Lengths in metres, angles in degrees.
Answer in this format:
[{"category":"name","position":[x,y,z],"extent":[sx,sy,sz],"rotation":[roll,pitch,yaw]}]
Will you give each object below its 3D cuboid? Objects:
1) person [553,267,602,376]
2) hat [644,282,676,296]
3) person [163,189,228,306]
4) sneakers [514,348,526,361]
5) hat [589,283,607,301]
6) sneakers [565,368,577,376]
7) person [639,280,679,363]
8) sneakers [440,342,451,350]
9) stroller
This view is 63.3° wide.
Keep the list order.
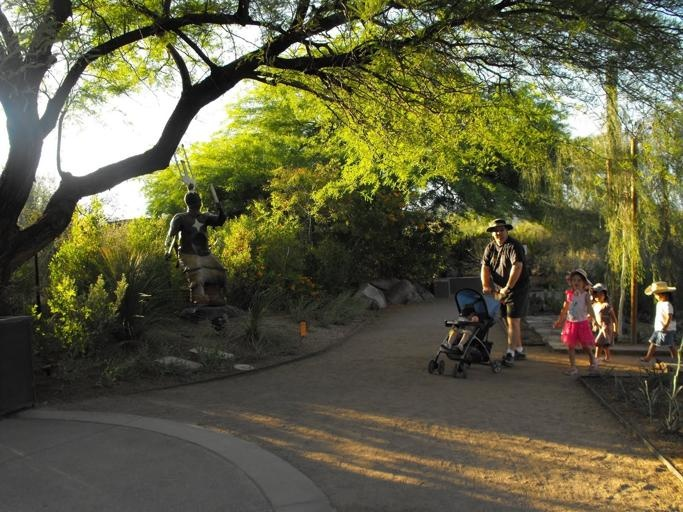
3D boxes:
[{"category":"person","position":[3.687,1.015,8.582],"extent":[0.523,1.679,0.502],"rotation":[2,0,12]},{"category":"hat","position":[5.871,0.603,10.189],"extent":[0.345,0.146,0.347],"rotation":[-1,6,38]},{"category":"person","position":[-2.849,-0.133,11.082],"extent":[1.143,2.189,0.871],"rotation":[2,0,-15]},{"category":"sneakers","position":[3.068,1.701,9.507],"extent":[0.282,0.144,0.111],"rotation":[0,14,-18]},{"category":"hat","position":[4.439,0.574,9.638],"extent":[0.270,0.194,0.348],"rotation":[14,-18,8]},{"category":"sneakers","position":[3.497,1.778,8.437],"extent":[0.241,0.117,0.083],"rotation":[5,-7,-44]},{"category":"person","position":[5.322,1.098,9.252],"extent":[0.448,1.388,0.944],"rotation":[2,0,29]},{"category":"sneakers","position":[1.637,1.412,8.631],"extent":[0.143,0.109,0.167],"rotation":[3,0,10]},{"category":"stroller","position":[2.207,1.235,8.906],"extent":[1.360,1.733,0.928],"rotation":[3,-3,-40]}]
